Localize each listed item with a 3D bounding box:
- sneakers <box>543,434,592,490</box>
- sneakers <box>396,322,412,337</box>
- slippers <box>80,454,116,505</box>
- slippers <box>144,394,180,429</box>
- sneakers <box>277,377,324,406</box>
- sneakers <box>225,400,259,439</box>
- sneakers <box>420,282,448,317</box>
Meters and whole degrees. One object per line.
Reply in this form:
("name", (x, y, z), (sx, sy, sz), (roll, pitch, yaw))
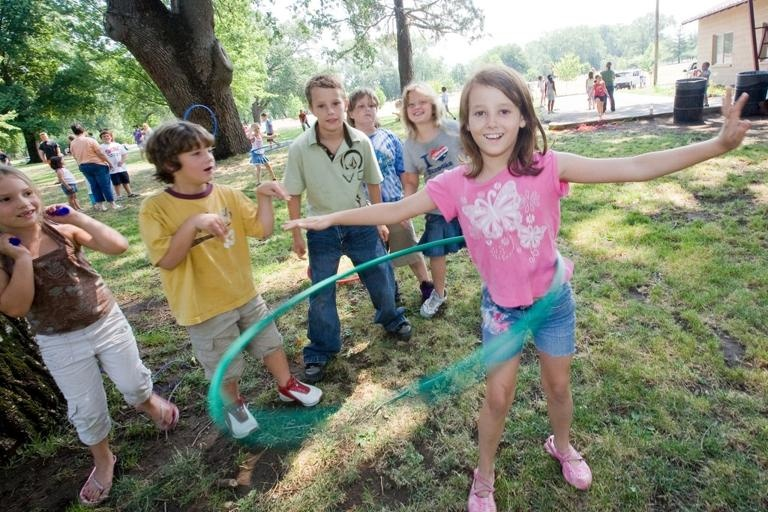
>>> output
("sneakers", (1.293, 1.477, 3.352), (0.199, 0.134, 0.364), (-36, 50, -4))
("sneakers", (0.190, 0.715, 4.514), (0.093, 0.079, 0.183), (-7, 0, -3))
("slippers", (-2.155, 1.702, 3.540), (0.135, 0.091, 0.342), (14, 47, -22))
("slippers", (-1.803, 1.279, 3.844), (0.116, 0.336, 0.207), (1, 45, 35))
("sneakers", (-0.676, 1.148, 4.021), (0.376, 0.227, 0.190), (7, 43, 7))
("sneakers", (-1.127, 1.304, 3.727), (0.179, 0.139, 0.341), (-23, 43, -39))
("sneakers", (0.510, 0.459, 4.868), (0.140, 0.170, 0.400), (29, 53, 23))
